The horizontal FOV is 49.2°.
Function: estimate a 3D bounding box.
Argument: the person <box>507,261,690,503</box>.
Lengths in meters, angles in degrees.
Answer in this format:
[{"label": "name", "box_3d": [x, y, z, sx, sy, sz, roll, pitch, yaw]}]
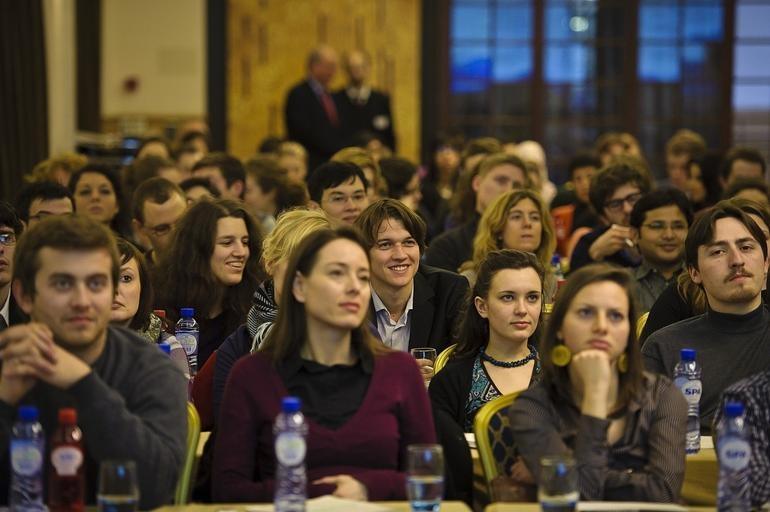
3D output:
[{"label": "person", "box_3d": [0.946, 0.560, 3.738, 0.788, 1.059, 0.398, -2, -3, 13]}]

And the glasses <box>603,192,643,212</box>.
[{"label": "glasses", "box_3d": [1.849, -0.430, 6.528, 0.269, 0.118, 0.059, -3, -3, 18]}]

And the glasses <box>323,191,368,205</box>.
[{"label": "glasses", "box_3d": [-0.296, -0.453, 6.520, 0.328, 0.090, 0.089, 0, -4, -15]}]

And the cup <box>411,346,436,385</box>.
[{"label": "cup", "box_3d": [0.235, 0.617, 4.815, 0.168, 0.264, 0.159, 0, 0, 0]}]
